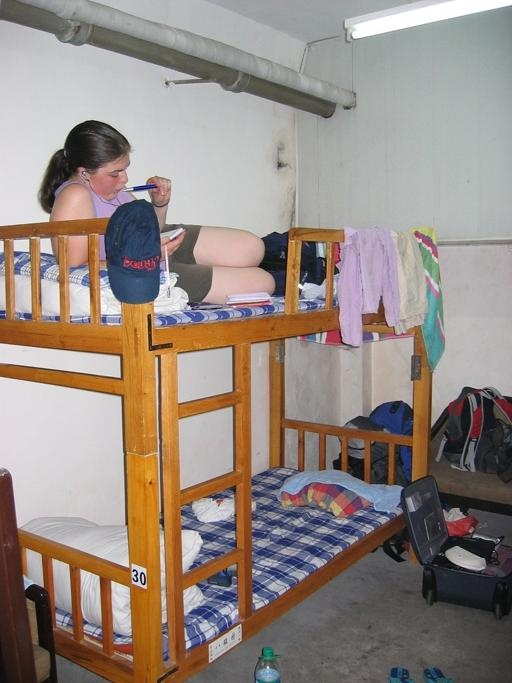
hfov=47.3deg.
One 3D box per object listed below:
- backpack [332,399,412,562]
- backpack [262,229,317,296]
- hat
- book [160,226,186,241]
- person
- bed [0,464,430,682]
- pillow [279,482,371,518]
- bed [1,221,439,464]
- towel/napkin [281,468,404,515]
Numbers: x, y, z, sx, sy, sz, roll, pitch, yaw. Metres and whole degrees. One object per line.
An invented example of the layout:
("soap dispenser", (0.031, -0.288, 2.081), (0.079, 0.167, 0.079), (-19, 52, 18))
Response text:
("backpack", (0.852, 0.803, 3.951), (0.278, 0.797, 0.578), (10, -13, -34))
("backpack", (0.116, -0.390, 2.678), (0.312, 0.251, 0.116), (-11, -3, -1))
("hat", (-0.320, -0.228, 1.578), (0.152, 0.265, 0.139), (-3, -4, -28))
("book", (-0.272, -0.347, 1.904), (0.070, 0.056, 0.174), (0, 1, -8))
("person", (-0.395, -0.533, 2.338), (0.892, 0.590, 0.473), (0, 1, 4))
("bed", (-0.123, 0.891, 2.785), (0.956, 0.430, 1.888), (1, 2, 37))
("pillow", (0.373, 0.862, 3.221), (0.279, 0.094, 0.224), (0, 1, 43))
("bed", (-0.137, 0.018, 2.548), (0.767, 1.035, 1.563), (7, 9, 37))
("towel/napkin", (0.535, 0.827, 3.302), (0.337, 0.094, 0.340), (4, 1, 34))
